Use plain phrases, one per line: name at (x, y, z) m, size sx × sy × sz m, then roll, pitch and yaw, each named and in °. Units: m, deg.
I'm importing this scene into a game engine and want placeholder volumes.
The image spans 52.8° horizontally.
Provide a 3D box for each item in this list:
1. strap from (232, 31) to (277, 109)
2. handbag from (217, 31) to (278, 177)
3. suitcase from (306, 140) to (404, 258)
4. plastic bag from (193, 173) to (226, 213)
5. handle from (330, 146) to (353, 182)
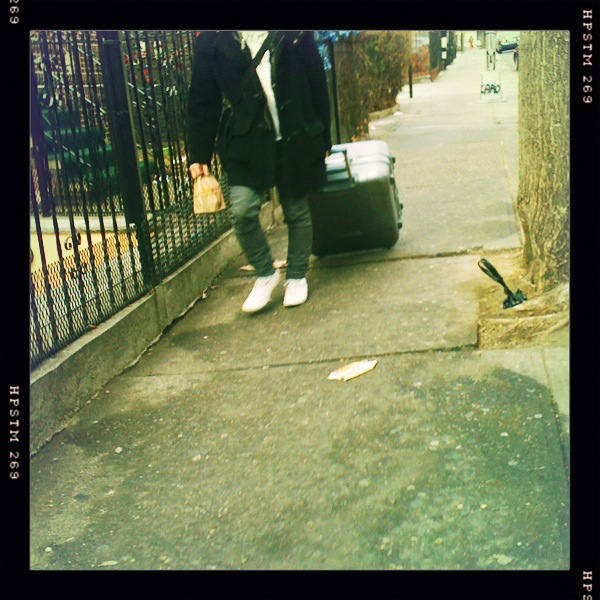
strap at (-0.235, -1.165, 3.085) m, size 0.289 × 0.314 × 0.067 m, roll -2°, pitch 14°, yaw 22°
handbag at (-0.263, -1.030, 3.113) m, size 0.079 × 0.796 × 0.088 m, roll -12°, pitch 50°, yaw -45°
suitcase at (0.335, -0.636, 3.919) m, size 0.534 × 0.938 × 0.549 m, roll -2°, pitch 58°, yaw 16°
plastic bag at (-0.494, -0.569, 3.228) m, size 0.164 × 0.194 × 0.178 m, roll -6°, pitch 15°, yaw 4°
handle at (0.270, -0.870, 3.774) m, size 0.165 × 0.213 × 0.043 m, roll -1°, pitch -5°, yaw 40°
